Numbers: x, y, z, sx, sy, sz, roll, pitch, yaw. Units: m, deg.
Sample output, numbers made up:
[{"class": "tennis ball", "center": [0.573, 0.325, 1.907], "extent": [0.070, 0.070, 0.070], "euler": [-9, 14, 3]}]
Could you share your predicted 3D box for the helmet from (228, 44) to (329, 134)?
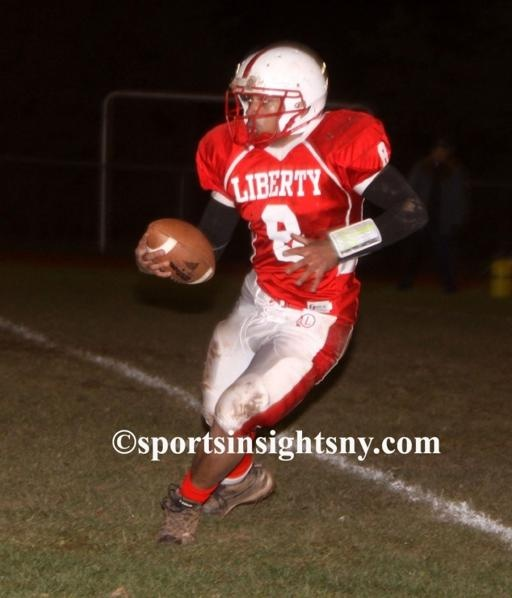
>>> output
[{"class": "helmet", "center": [0.079, -0.685, 2.033], "extent": [0.392, 0.238, 0.255], "euler": [-13, 31, -19]}]

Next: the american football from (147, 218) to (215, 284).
[{"class": "american football", "center": [-0.227, -0.128, 2.053], "extent": [0.157, 0.260, 0.175], "euler": [-36, 47, 23]}]

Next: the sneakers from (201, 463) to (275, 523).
[{"class": "sneakers", "center": [-0.049, 0.687, 2.160], "extent": [0.108, 0.105, 0.307], "euler": [-2, 5, 45]}]

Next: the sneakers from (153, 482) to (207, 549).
[{"class": "sneakers", "center": [-0.253, 0.701, 1.921], "extent": [0.090, 0.079, 0.217], "euler": [0, 0, -2]}]

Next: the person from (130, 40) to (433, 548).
[{"class": "person", "center": [-0.059, 0.023, 2.066], "extent": [1.141, 1.521, 0.745], "euler": [-12, 18, -19]}]
